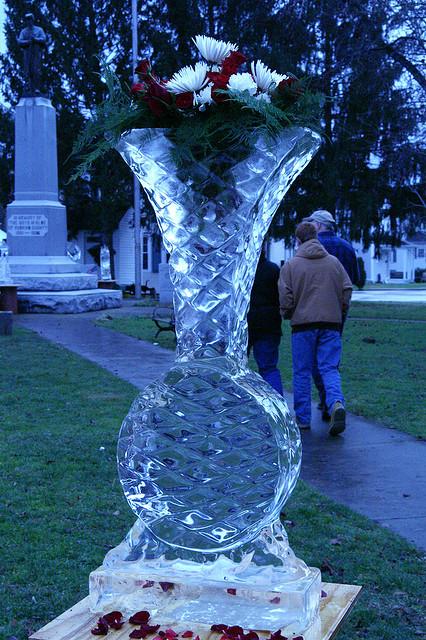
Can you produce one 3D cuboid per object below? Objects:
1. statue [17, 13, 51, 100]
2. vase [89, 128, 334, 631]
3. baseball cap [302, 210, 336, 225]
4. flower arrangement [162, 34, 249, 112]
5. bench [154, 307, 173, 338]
[{"bbox_3d":[-3.974,-5.797,21.322,0.788,1.740,0.642,3,7,8],"label":"statue"},{"bbox_3d":[0.008,0.176,3.262,0.783,1.626,0.497,3,9,4],"label":"vase"},{"bbox_3d":[0.877,-0.819,7.886,0.250,0.106,0.147,4,6,8],"label":"baseball cap"},{"bbox_3d":[-0.009,-0.812,3.331,0.350,0.296,0.299,6,14,16],"label":"flower arrangement"},{"bbox_3d":[-0.819,0.072,15.879,0.293,0.395,0.681,3,1,-8],"label":"bench"}]
